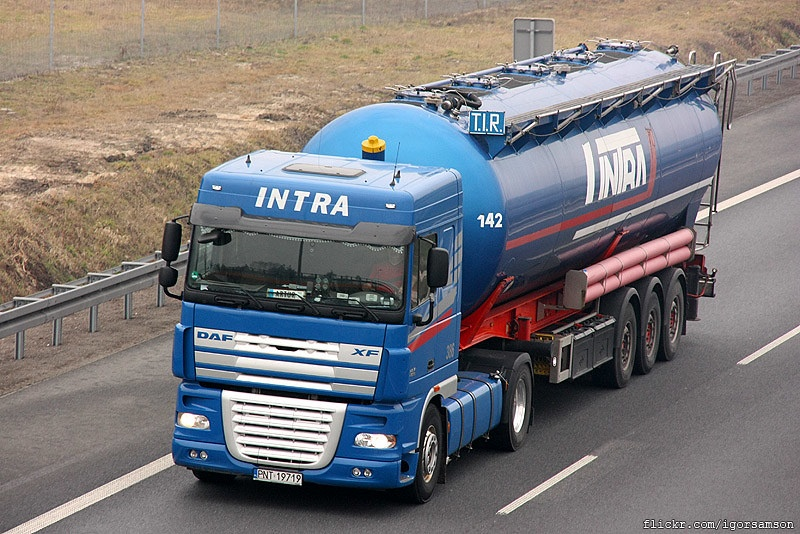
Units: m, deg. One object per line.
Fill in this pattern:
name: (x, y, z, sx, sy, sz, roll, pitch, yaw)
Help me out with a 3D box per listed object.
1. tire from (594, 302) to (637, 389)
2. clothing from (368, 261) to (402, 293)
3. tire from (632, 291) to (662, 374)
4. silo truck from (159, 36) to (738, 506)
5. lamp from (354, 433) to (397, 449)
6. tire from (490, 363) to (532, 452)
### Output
tire: (3.912, 1.381, 16.706, 0.502, 1.573, 1.544, 2, 16, 29)
clothing: (-0.137, 0.112, 11.317, 0.311, 0.408, 0.113, 13, 0, 3)
tire: (4.683, 1.256, 17.227, 0.280, 1.234, 1.222, 6, -15, 18)
silo truck: (0.992, -0.326, 15.571, 4.534, 5.674, 12.652, 5, 13, 33)
lamp: (-0.299, 2.147, 11.380, 0.325, 0.121, 0.234, 2, 2, -13)
tire: (1.608, 2.080, 13.612, 0.309, 1.006, 0.987, 1, -22, 23)
